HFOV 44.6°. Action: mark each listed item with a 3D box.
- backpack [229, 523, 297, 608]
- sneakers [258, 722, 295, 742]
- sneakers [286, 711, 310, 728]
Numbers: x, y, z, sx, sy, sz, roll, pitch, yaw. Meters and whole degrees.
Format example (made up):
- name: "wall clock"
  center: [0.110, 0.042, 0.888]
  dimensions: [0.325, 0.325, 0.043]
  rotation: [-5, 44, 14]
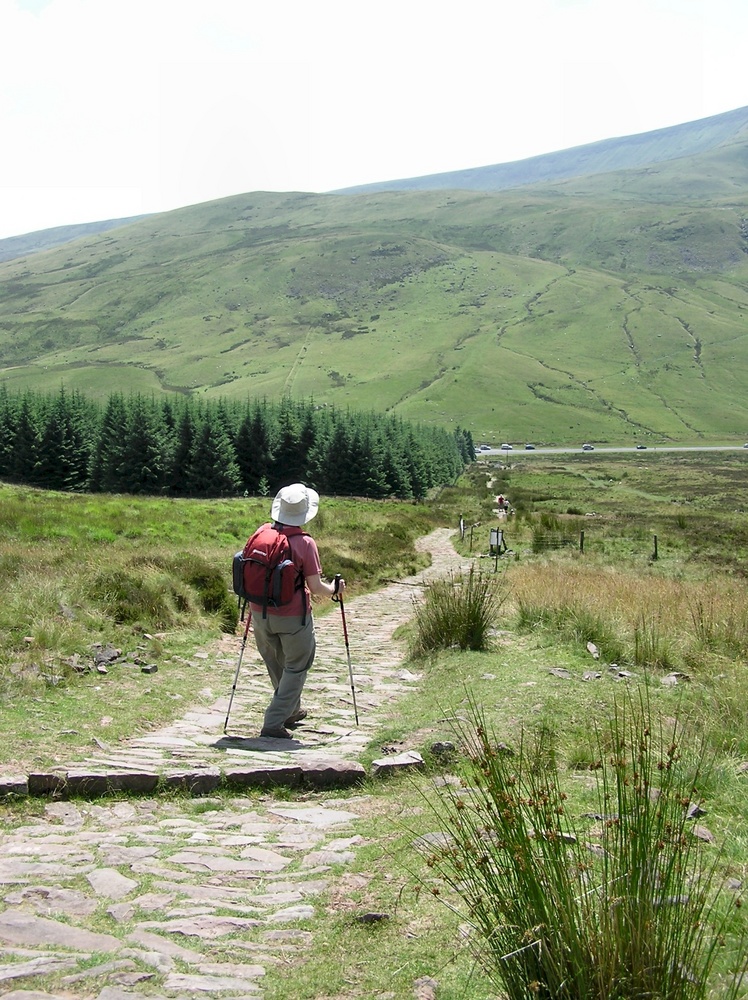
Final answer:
- name: "backpack"
  center: [-0.959, 0.603, 8.062]
  dimensions: [0.619, 0.709, 0.380]
  rotation: [8, 4, 41]
- name: "sneakers"
  center: [-0.870, 2.094, 8.167]
  dimensions: [0.335, 0.122, 0.109]
  rotation: [1, 1, -5]
- name: "sneakers"
  center: [-0.740, 2.114, 8.772]
  dimensions: [0.249, 0.174, 0.586]
  rotation: [1, -7, -8]
